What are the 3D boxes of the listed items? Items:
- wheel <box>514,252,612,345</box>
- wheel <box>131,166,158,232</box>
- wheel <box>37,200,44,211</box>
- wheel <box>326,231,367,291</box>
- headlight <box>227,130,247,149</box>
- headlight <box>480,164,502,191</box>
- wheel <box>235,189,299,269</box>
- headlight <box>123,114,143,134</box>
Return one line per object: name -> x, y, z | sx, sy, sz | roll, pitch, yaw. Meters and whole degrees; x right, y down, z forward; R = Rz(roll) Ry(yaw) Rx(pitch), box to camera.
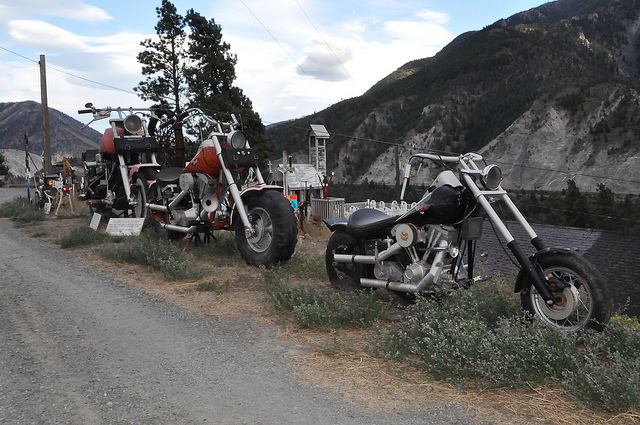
wheel -> 3.257, 1.154, 6.387 | 1.120, 1.177, 0.517 | 8, 16, 27
wheel -> -4.898, -0.439, 13.181 | 1.446, 1.511, 0.431 | 18, 12, 35
wheel -> -12.154, -0.346, 20.735 | 0.380, 0.382, 0.107 | 4, 2, 44
wheel -> 0.448, 0.856, 8.834 | 0.243, 0.918, 0.932 | -2, -1, -37
headlight -> -1.839, -1.617, 10.522 | 0.351, 0.420, 0.295 | -6, 1, -34
headlight -> 2.563, -0.536, 7.252 | 0.378, 0.363, 0.231 | -2, 7, -31
wheel -> -1.161, 0.326, 10.214 | 1.389, 1.633, 0.652 | 12, 18, 41
headlight -> -5.394, -2.551, 13.757 | 0.515, 0.556, 0.249 | -5, 15, -20
